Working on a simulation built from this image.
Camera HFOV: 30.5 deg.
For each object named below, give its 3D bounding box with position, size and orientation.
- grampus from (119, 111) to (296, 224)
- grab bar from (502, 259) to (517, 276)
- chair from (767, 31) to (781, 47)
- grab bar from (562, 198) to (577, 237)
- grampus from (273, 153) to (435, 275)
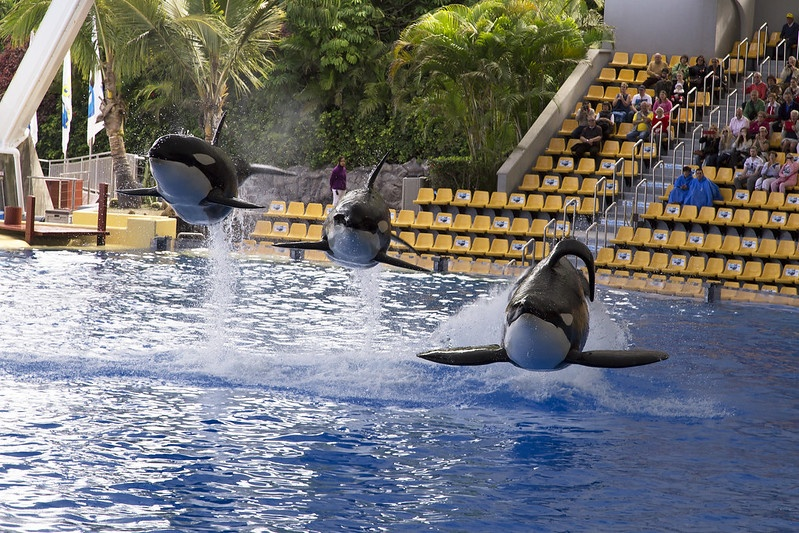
[{"bbox_3d":[-3.471,-1.642,25.782,3.033,1.806,4.247,8,4,16],"label":"grampus"},{"bbox_3d":[2.486,0.060,33.468,0.240,0.196,0.397,2,10,17],"label":"grab bar"},{"bbox_3d":[10.147,-6.196,39.786,0.349,0.415,0.511,8,-3,32],"label":"chair"},{"bbox_3d":[4.088,-1.125,34.765,0.208,1.023,0.479,1,7,38],"label":"grab bar"},{"bbox_3d":[-0.715,-1.020,26.236,2.782,1.809,3.118,12,15,5],"label":"grampus"}]
